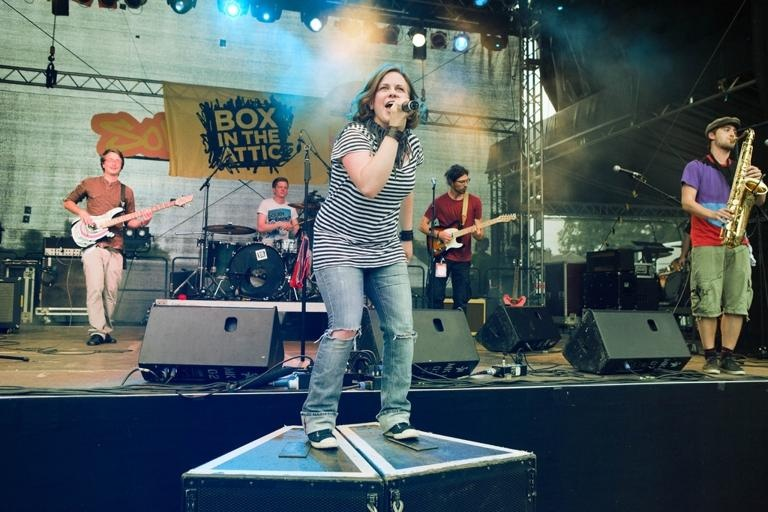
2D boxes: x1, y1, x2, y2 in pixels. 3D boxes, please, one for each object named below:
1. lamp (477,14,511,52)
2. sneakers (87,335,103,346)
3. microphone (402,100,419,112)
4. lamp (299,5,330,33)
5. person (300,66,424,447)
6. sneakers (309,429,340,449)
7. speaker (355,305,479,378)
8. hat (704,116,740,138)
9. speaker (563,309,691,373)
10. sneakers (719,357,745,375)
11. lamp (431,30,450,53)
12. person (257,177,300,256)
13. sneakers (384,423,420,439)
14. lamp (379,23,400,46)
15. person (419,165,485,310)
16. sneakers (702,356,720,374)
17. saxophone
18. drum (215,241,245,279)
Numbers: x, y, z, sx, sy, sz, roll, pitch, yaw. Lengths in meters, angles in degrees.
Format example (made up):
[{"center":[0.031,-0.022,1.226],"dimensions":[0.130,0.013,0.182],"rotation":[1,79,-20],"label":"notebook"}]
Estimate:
[{"center":[1.957,-3.929,14.884],"dimensions":[0.556,0.449,0.787],"rotation":[0,25,3],"label":"lamp"},{"center":[-3.881,1.116,11.346],"dimensions":[0.213,0.141,0.255],"rotation":[1,-1,-5],"label":"sneakers"},{"center":[0.265,-1.466,8.353],"dimensions":[0.130,0.133,0.179],"rotation":[-4,8,-29],"label":"microphone"},{"center":[-1.220,-4.111,14.746],"dimensions":[0.435,0.305,0.403],"rotation":[1,-1,-6],"label":"lamp"},{"center":[-0.186,0.010,8.526],"dimensions":[1.135,3.815,0.560],"rotation":[1,-1,-2],"label":"person"},{"center":[-0.596,1.825,8.379],"dimensions":[0.139,0.146,0.335],"rotation":[8,-17,-36],"label":"sneakers"},{"center":[0.438,1.025,10.081],"dimensions":[1.220,0.856,0.971],"rotation":[-1,-1,-12],"label":"speaker"},{"center":[4.028,-1.580,10.220],"dimensions":[0.380,0.182,0.475],"rotation":[-4,-1,-28],"label":"hat"},{"center":[2.963,1.004,10.206],"dimensions":[1.256,0.712,0.976],"rotation":[2,5,-22],"label":"speaker"},{"center":[4.078,1.302,9.961],"dimensions":[0.138,0.158,0.371],"rotation":[2,-8,-9],"label":"sneakers"},{"center":[1.079,-4.092,16.215],"dimensions":[0.363,0.368,0.375],"rotation":[-19,15,1],"label":"lamp"},{"center":[-1.629,-0.667,13.005],"dimensions":[0.631,1.160,0.778],"rotation":[1,-1,-8],"label":"person"},{"center":[0.184,1.762,8.495],"dimensions":[0.333,0.130,0.137],"rotation":[-9,-15,35],"label":"sneakers"},{"center":[0.118,-4.074,15.475],"dimensions":[0.352,0.355,0.344],"rotation":[16,24,-11],"label":"lamp"},{"center":[0.945,-0.284,11.707],"dimensions":[0.890,1.990,0.657],"rotation":[1,-1,-30],"label":"person"},{"center":[3.839,1.277,9.895],"dimensions":[0.174,0.187,0.276],"rotation":[0,-1,20],"label":"sneakers"},{"center":[4.254,-0.817,10.074],"dimensions":[0.542,1.430,0.549],"rotation":[1,-1,6],"label":"saxophone"},{"center":[-2.321,0.028,12.664],"dimensions":[0.481,0.476,0.471],"rotation":[2,0,-18],"label":"drum"}]
